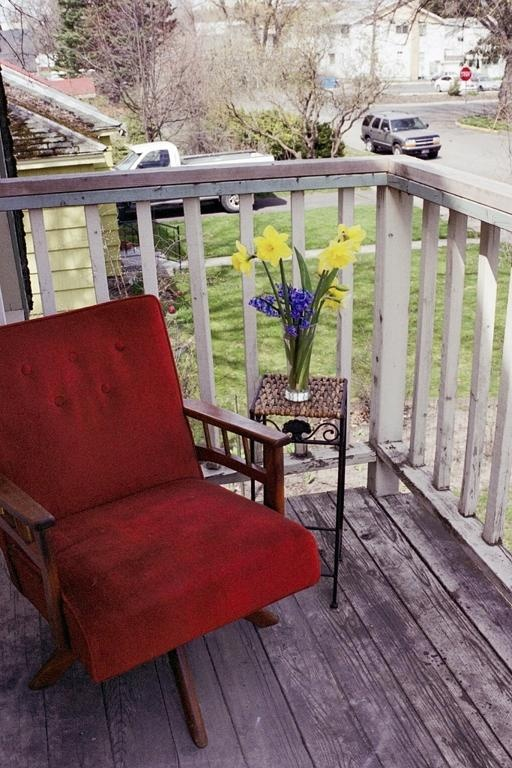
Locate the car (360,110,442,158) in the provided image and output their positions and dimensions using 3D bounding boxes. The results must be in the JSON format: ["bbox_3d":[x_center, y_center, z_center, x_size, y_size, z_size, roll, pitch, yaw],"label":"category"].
[{"bbox_3d":[4.134,-7.056,16.196,1.194,1.238,2.632,-11,25,-13],"label":"car"}]

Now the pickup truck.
[{"bbox_3d":[-1.224,-3.916,10.693,3.052,1.347,1.273,-11,30,-13],"label":"pickup truck"}]
